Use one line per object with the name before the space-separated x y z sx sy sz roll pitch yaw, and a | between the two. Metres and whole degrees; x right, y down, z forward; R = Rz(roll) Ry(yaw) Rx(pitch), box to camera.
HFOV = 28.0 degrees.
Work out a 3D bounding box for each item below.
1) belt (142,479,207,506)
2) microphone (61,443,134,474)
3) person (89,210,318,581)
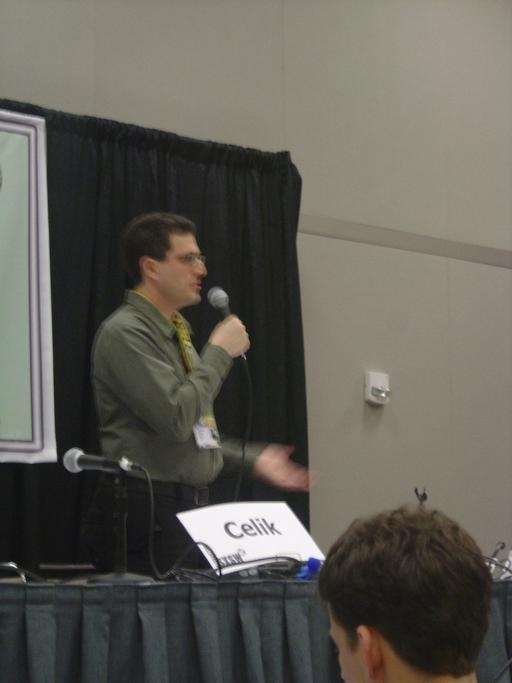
belt | -0.229 0.417 2.795 0.112 0.051 0.170 8 -8 4
microphone | -0.322 0.256 2.156 0.143 0.059 0.124 2 3 -3
person | -0.229 0.138 3.023 0.455 1.049 0.774 2 4 12
